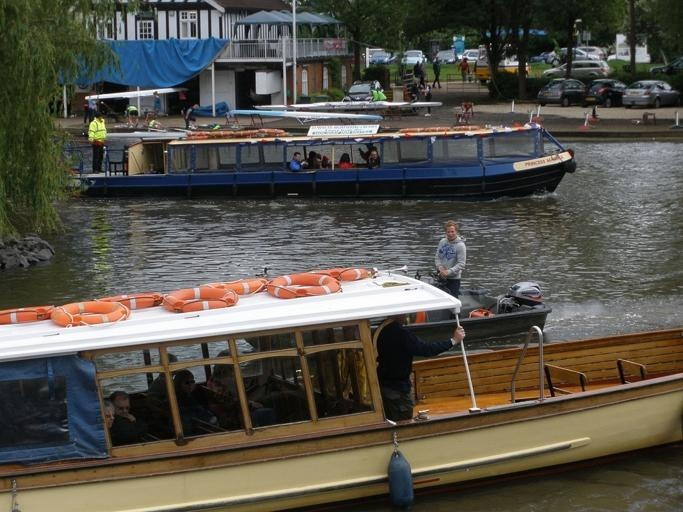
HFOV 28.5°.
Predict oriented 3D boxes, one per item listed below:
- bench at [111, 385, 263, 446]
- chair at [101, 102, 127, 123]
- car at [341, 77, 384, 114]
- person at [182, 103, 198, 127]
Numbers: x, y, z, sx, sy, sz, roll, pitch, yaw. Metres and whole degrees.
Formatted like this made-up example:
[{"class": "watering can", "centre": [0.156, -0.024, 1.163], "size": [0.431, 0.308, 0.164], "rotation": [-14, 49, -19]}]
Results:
[{"class": "bench", "centre": [-3.096, 3.024, 25.340], "size": [3.239, 1.535, 0.717], "rotation": [-1, -20, -9]}, {"class": "chair", "centre": [-13.124, -8.141, 76.684], "size": [1.335, 0.729, 2.206], "rotation": [-1, 13, -17]}, {"class": "car", "centre": [1.186, -8.819, 72.415], "size": [2.003, 1.472, 3.237], "rotation": [0, 5, 12]}, {"class": "person", "centre": [-8.445, -7.754, 74.028], "size": [1.021, 0.957, 2.726], "rotation": [-9, 10, -10]}]
